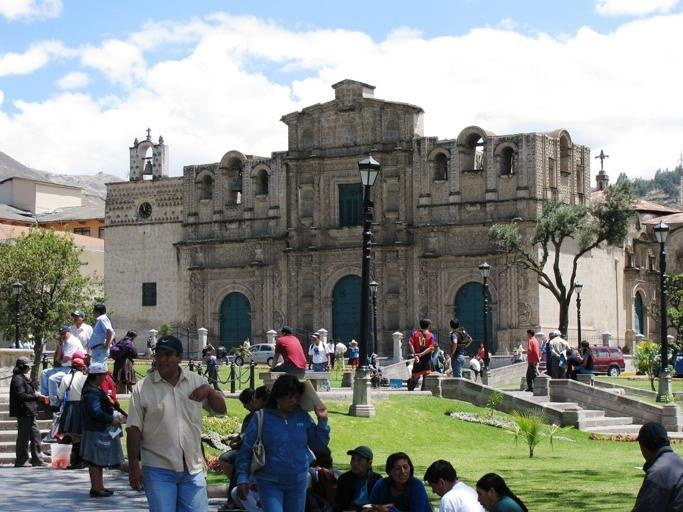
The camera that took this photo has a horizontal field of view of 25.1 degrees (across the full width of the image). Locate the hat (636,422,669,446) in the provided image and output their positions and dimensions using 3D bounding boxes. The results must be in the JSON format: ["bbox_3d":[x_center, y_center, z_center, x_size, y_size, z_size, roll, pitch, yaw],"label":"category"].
[{"bbox_3d":[6.523,3.723,32.127,0.414,0.527,0.571,2,12,-3],"label":"hat"}]

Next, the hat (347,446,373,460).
[{"bbox_3d":[0.475,4.401,34.016,0.469,0.239,0.343,16,-17,-23],"label":"hat"}]

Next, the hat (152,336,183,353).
[{"bbox_3d":[-3.695,1.916,32.561,0.559,0.392,0.392,0,-6,-10],"label":"hat"}]

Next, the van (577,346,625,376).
[{"bbox_3d":[12.110,4.978,71.228,2.996,1.476,1.655,7,-11,-28],"label":"van"}]

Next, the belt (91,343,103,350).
[{"bbox_3d":[-6.555,2.449,41.084,0.295,0.158,0.073,-1,-6,-2],"label":"belt"}]

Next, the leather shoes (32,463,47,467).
[{"bbox_3d":[-7.846,5.438,39.714,0.347,0.105,0.138,3,-8,-31],"label":"leather shoes"}]

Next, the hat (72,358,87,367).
[{"bbox_3d":[-6.782,2.774,39.338,0.314,0.213,0.516,0,-7,-14],"label":"hat"}]

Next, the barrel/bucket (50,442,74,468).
[{"bbox_3d":[-7.271,5.194,39.518,0.573,0.613,0.575,1,-4,0],"label":"barrel/bucket"}]

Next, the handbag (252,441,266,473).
[{"bbox_3d":[-1.759,4.316,32.452,0.235,0.617,0.524,-6,-9,-23],"label":"handbag"}]

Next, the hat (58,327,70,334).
[{"bbox_3d":[-7.500,2.031,41.308,0.267,0.224,0.418,0,-7,-11],"label":"hat"}]

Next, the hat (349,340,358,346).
[{"bbox_3d":[0.536,4.080,70.984,0.369,0.154,0.429,2,-34,-2],"label":"hat"}]

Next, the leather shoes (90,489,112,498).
[{"bbox_3d":[-5.804,5.716,36.790,0.354,0.133,0.267,-1,-1,-18],"label":"leather shoes"}]

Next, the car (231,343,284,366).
[{"bbox_3d":[-3.994,4.931,71.980,2.342,1.191,1.392,2,-3,21],"label":"car"}]

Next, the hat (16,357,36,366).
[{"bbox_3d":[-8.211,2.826,39.662,0.388,0.196,0.288,-4,5,-28],"label":"hat"}]
